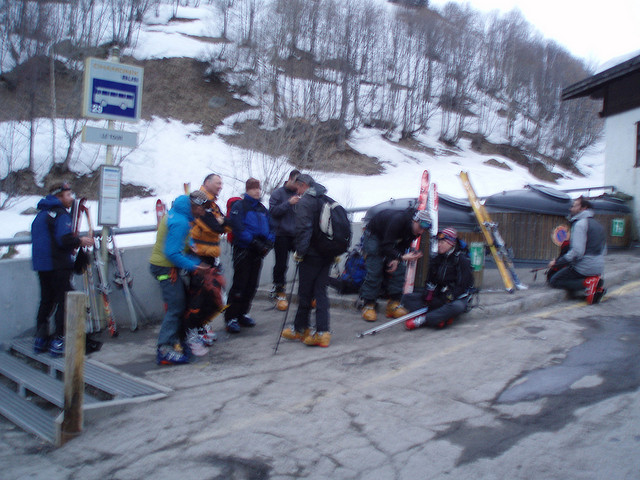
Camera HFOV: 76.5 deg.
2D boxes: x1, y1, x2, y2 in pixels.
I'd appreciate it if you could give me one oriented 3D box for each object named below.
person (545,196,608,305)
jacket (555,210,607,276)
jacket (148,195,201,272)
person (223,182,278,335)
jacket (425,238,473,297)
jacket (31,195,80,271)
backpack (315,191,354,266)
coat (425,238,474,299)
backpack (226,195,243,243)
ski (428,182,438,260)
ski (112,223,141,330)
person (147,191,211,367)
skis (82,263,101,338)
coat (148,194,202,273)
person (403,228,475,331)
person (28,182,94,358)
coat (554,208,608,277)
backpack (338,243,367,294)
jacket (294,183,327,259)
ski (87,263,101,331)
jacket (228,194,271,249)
[{"bbox_3d":[5.001,0.216,7.744,0.878,1.959,0.726,5,11,37],"label":"person"},{"bbox_3d":[5.004,0.071,7.704,0.917,1.237,0.497,-3,9,-7],"label":"jacket"},{"bbox_3d":[-1.849,-0.105,5.254,0.633,0.899,0.798,3,17,-22],"label":"jacket"},{"bbox_3d":[-1.149,0.294,6.412,0.829,2.362,0.409,-4,9,-12],"label":"person"},{"bbox_3d":[2.046,0.457,6.521,0.765,1.204,0.494,11,17,40],"label":"jacket"},{"bbox_3d":[-3.538,-0.088,5.400,0.569,1.003,0.327,-1,9,4],"label":"jacket"},{"bbox_3d":[0.176,-0.144,5.639,0.490,1.015,0.370,-1,9,4],"label":"backpack"},{"bbox_3d":[2.082,0.501,6.513,0.541,1.111,0.692,8,-8,-36],"label":"coat"},{"bbox_3d":[-1.415,-0.328,6.512,0.439,0.645,0.242,2,1,-1],"label":"backpack"},{"bbox_3d":[1.948,-0.299,7.007,0.223,1.369,0.193,4,-10,-10],"label":"ski"},{"bbox_3d":[-3.247,0.697,6.770,0.247,1.800,0.243,-8,10,26],"label":"ski"},{"bbox_3d":[-1.817,0.498,5.221,0.812,2.206,0.531,-1,9,6],"label":"person"},{"bbox_3d":[-3.523,0.898,6.306,0.114,1.580,0.246,32,38,18],"label":"skis"},{"bbox_3d":[-1.838,-0.116,5.268,0.644,0.964,0.751,3,22,-26],"label":"coat"},{"bbox_3d":[1.868,0.612,6.332,1.094,1.614,1.056,3,1,-8],"label":"person"},{"bbox_3d":[-3.527,0.381,5.463,0.796,2.265,1.067,-8,11,-35],"label":"person"},{"bbox_3d":[5.151,0.081,7.951,0.969,1.411,0.787,4,-3,-34],"label":"coat"},{"bbox_3d":[0.603,0.561,7.394,0.441,0.842,0.634,16,-20,0],"label":"backpack"},{"bbox_3d":[-0.166,-0.263,5.595,0.290,0.783,0.771,7,6,28],"label":"jacket"},{"bbox_3d":[-3.527,0.913,6.290,0.097,0.963,0.091,-18,7,-37],"label":"ski"},{"bbox_3d":[-1.112,-0.258,6.292,0.435,0.836,0.750,-15,-14,36],"label":"jacket"}]
